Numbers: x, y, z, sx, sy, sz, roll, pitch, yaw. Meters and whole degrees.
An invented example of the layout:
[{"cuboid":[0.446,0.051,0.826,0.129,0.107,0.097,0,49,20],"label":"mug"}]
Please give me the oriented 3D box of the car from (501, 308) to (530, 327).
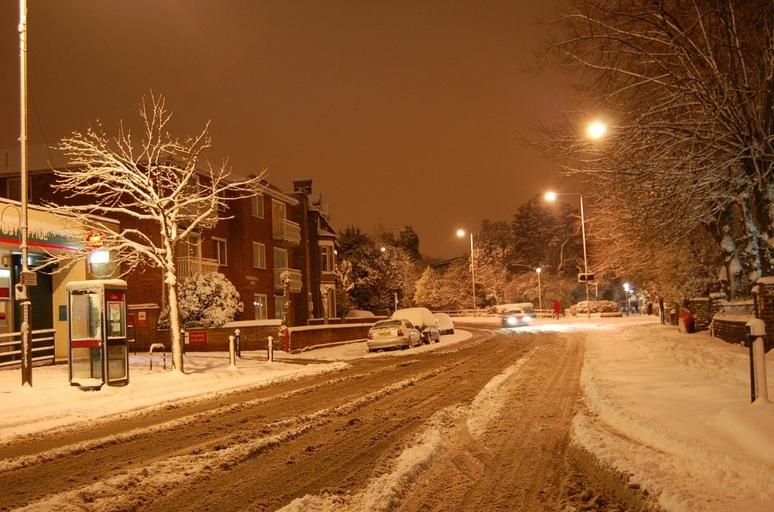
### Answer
[{"cuboid":[11.786,5.752,56.877,1.263,1.161,2.365,-1,-10,-1],"label":"car"}]
